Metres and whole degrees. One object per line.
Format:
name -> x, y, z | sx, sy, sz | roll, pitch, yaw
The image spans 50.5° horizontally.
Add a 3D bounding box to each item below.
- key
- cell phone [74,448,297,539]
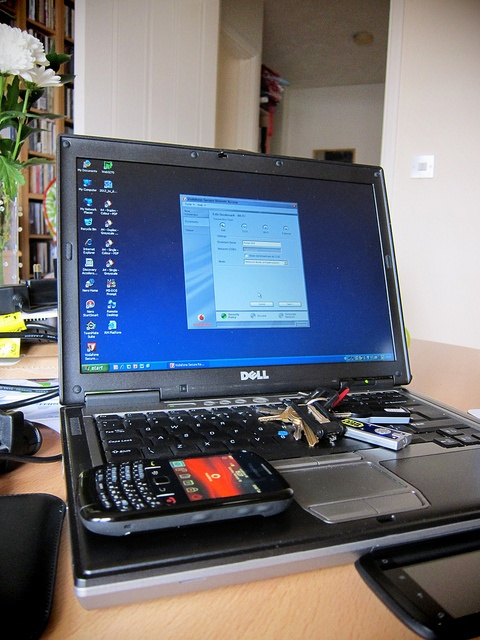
key -> 0.056, 0.084, 0.454 | 0.073, 0.018, 0.120 | 5, 13, 11
cell phone -> -0.033, 0.093, 0.294 | 0.116, 0.018, 0.078 | -3, 14, -20
